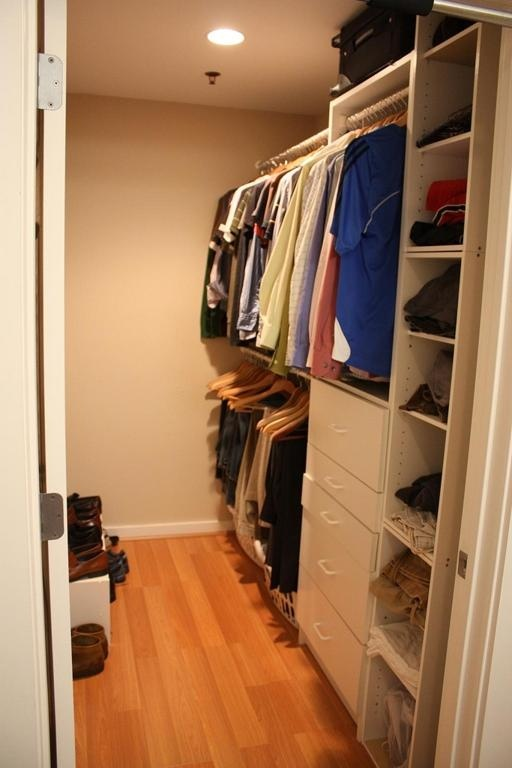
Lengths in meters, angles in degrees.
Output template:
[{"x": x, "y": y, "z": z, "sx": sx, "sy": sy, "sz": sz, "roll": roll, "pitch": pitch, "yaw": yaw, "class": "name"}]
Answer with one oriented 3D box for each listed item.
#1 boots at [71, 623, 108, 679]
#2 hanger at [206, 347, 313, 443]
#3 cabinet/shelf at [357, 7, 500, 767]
[{"x": -0.653, "y": 1.055, "z": 2.203, "sx": 0.133, "sy": 0.132, "sz": 0.178, "roll": -1, "pitch": 7, "yaw": -17, "class": "boots"}, {"x": 0.061, "y": 0.038, "z": 2.842, "sx": 0.371, "sy": 0.224, "sz": 0.498, "roll": -3, "pitch": 7, "yaw": -31, "class": "hanger"}, {"x": 0.476, "y": 0.111, "z": 1.563, "sx": 0.245, "sy": 2.165, "sz": 0.537, "roll": -1, "pitch": 6, "yaw": -13, "class": "cabinet/shelf"}]
